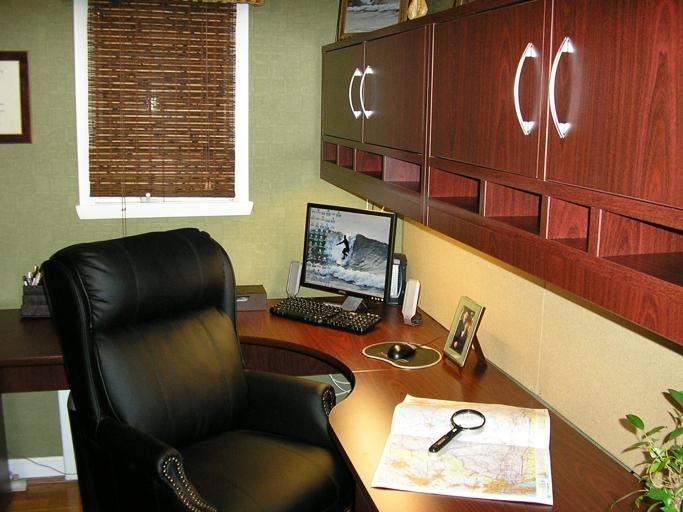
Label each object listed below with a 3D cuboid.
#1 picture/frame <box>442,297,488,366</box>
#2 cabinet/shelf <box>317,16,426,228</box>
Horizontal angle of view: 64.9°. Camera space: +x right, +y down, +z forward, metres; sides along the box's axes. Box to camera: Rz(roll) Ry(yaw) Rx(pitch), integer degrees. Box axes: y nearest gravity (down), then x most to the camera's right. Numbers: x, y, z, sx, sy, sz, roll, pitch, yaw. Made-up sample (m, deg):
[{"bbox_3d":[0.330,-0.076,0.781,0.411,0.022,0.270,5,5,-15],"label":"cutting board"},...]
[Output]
[{"bbox_3d":[0.534,0.331,2.309,0.114,0.347,0.191,0,14,-17],"label":"picture/frame"},{"bbox_3d":[0.170,-0.639,2.481,0.182,0.746,1.249,-3,15,-18],"label":"cabinet/shelf"}]
